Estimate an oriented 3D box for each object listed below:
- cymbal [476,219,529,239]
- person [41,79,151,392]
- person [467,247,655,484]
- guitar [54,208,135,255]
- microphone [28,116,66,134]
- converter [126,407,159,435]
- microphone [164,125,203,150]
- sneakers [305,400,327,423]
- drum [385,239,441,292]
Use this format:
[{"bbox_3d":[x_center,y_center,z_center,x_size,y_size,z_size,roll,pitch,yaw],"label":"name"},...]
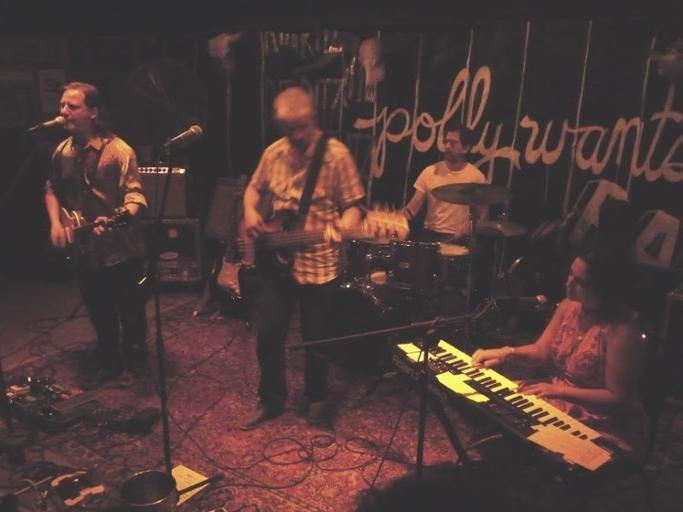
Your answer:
[{"bbox_3d":[1.796,-0.310,6.541,0.311,0.080,0.339,14,21,24],"label":"cymbal"},{"bbox_3d":[-2.249,-0.169,5.304,0.861,2.676,0.680,0,16,-11],"label":"person"},{"bbox_3d":[1.712,0.881,4.473,1.174,1.506,1.471,-4,17,-11],"label":"person"},{"bbox_3d":[-2.312,-0.256,5.167,0.748,0.316,0.314,8,16,15],"label":"guitar"},{"bbox_3d":[-2.305,-1.020,4.531,0.213,0.118,0.287,0,15,-14],"label":"microphone"},{"bbox_3d":[-1.707,1.413,4.960,0.262,0.112,0.244,-1,16,-18],"label":"converter"},{"bbox_3d":[-1.210,-0.904,4.416,0.257,0.181,0.738,0,15,-13],"label":"microphone"},{"bbox_3d":[-0.232,1.361,5.101,0.130,0.047,0.177,6,31,9],"label":"sneakers"},{"bbox_3d":[0.731,0.096,6.295,0.527,0.548,0.517,0,17,-3],"label":"drum"}]
